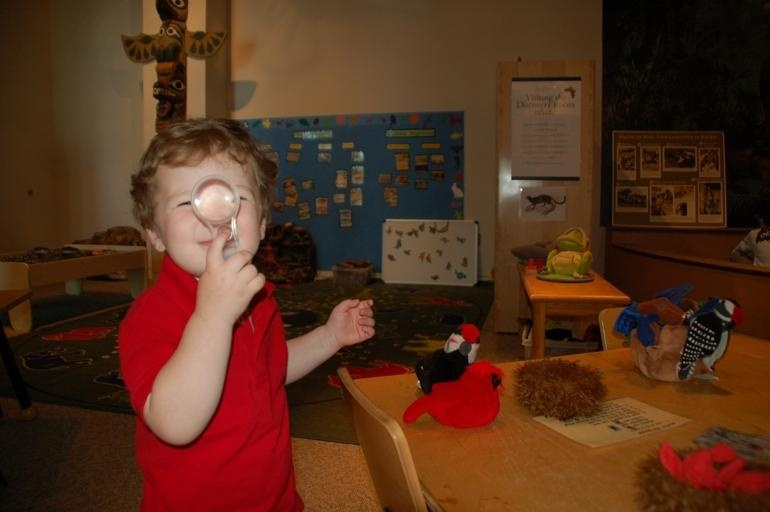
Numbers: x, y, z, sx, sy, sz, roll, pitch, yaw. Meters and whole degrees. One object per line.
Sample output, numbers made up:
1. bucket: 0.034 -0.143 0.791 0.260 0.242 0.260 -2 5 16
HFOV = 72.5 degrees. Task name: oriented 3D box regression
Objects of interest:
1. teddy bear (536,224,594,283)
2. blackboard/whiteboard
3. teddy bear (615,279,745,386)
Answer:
1. teddy bear: 1.360 -0.034 3.791 0.406 0.423 0.396 6 2 2
2. blackboard/whiteboard: 0.669 -0.041 7.174 0.961 0.666 0.037 1 2 10
3. teddy bear: 1.111 0.287 2.053 0.418 0.297 0.318 -2 15 16
